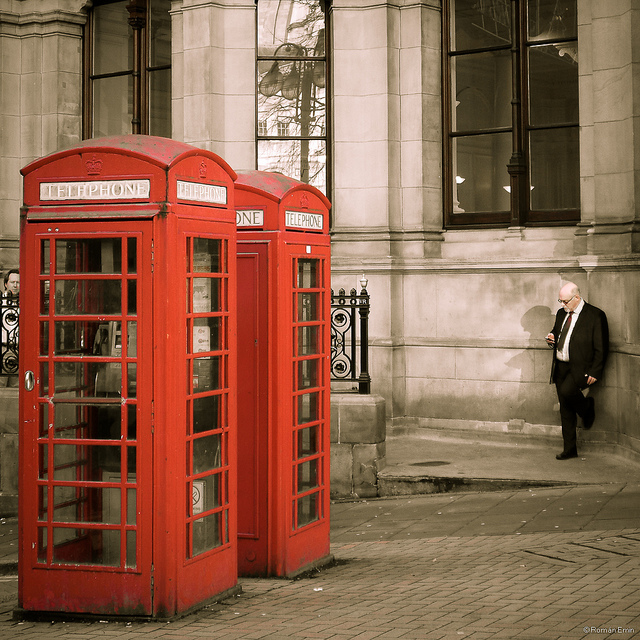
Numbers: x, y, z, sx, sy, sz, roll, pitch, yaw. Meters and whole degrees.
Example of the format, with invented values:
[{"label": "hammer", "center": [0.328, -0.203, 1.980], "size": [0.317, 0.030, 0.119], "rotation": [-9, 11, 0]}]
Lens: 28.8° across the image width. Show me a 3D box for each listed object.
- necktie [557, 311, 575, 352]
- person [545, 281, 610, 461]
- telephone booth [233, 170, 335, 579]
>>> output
[{"label": "necktie", "center": [2.523, 0.115, 12.839], "size": [0.173, 0.395, 0.056], "rotation": [0, 3, 21]}, {"label": "person", "center": [2.649, 0.522, 12.821], "size": [0.612, 1.805, 0.419], "rotation": [0, 3, 12]}, {"label": "telephone booth", "center": [-0.272, 0.407, 9.070], "size": [0.507, 2.903, 0.810], "rotation": [0, 3, 16]}]
